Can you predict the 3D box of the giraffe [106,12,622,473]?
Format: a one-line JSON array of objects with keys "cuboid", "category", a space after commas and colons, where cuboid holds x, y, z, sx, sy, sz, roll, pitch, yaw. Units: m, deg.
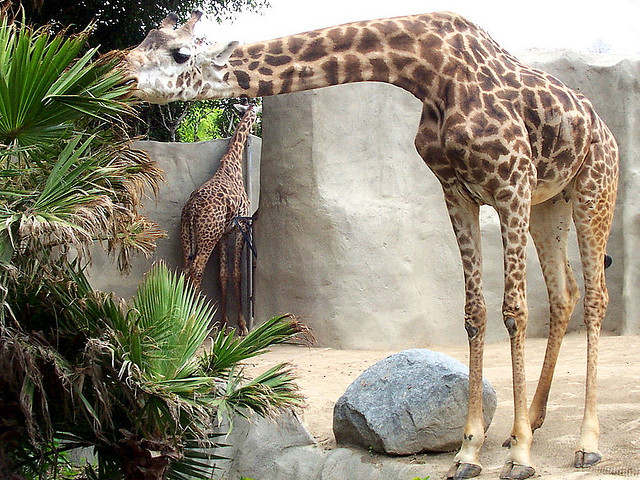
[{"cuboid": [0.381, -0.049, 5.254, 3.430, 3.039, 1.346, 6, -4, -24], "category": "giraffe"}]
